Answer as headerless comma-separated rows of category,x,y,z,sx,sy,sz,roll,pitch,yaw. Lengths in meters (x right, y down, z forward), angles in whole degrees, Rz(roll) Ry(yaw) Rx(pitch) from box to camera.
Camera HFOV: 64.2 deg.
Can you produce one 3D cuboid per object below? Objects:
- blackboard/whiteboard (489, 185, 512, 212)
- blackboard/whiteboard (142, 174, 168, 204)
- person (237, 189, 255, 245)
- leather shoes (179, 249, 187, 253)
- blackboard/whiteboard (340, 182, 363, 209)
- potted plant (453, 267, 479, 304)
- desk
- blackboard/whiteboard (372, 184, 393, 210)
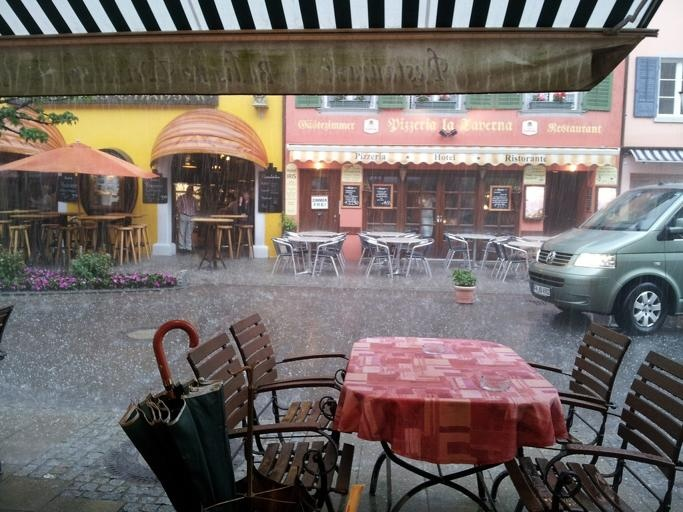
blackboard/whiteboard,5.324,-1.984,18.170,0.800,1.048,0.113,0,1,4
blackboard/whiteboard,-6.155,-2.259,18.013,0.904,1.129,0.146,0,0,-5
person,-3.545,-1.346,19.757,0.690,2.167,0.751,-2,15,-6
leather shoes,-5.643,-0.231,19.378,0.189,0.142,0.112,5,45,5
blackboard/whiteboard,0.331,-2.125,18.352,0.782,0.972,0.120,1,3,0
potted plant,2.540,0.602,11.362,0.589,0.924,0.722,-1,3,9
desk,0.752,1.010,3.884,1.117,0.822,1.493,0,3,2
blackboard/whiteboard,1.414,-2.088,18.481,0.784,1.017,0.067,0,2,-1
